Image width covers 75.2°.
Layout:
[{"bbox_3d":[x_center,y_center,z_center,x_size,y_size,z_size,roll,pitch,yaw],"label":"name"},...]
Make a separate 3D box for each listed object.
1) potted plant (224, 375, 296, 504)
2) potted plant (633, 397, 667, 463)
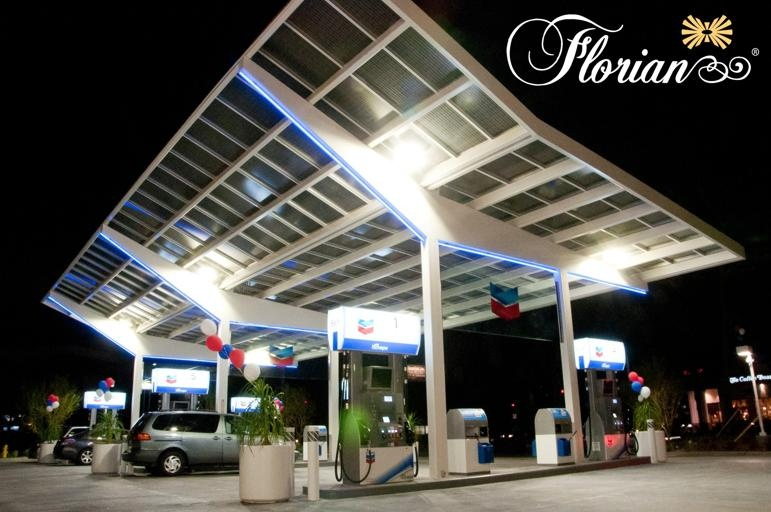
[{"bbox_3d":[-2.241,3.435,9.372,1.056,2.195,0.797,4,-22,-12],"label":"potted plant"},{"bbox_3d":[8.526,5.556,16.007,1.369,1.934,0.645,15,-27,-35],"label":"potted plant"}]
